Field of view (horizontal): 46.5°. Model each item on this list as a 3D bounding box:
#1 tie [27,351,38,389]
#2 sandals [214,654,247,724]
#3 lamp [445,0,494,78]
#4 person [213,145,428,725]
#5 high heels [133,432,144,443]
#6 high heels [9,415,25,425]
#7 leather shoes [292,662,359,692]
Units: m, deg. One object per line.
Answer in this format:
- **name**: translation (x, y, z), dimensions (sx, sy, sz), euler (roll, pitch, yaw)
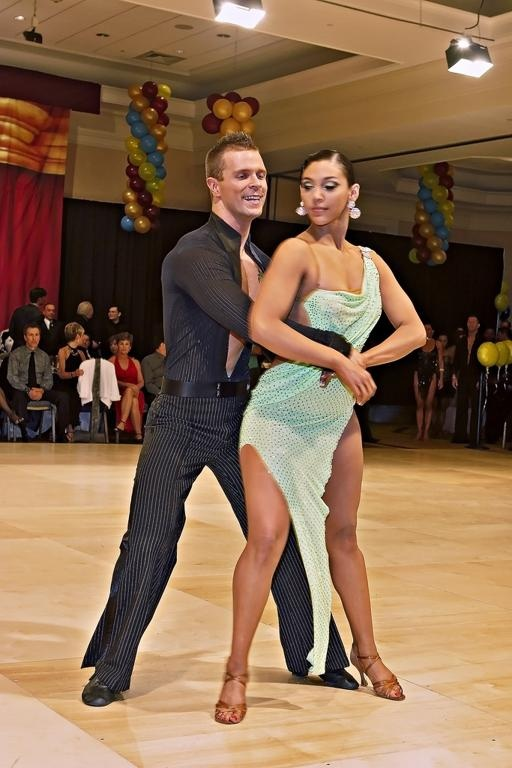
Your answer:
- **tie**: translation (-3.229, -0.200, 8.665), dimensions (0.164, 0.516, 0.074), euler (7, -12, -18)
- **sandals**: translation (-0.056, 0.712, 1.381), dimensions (0.072, 0.121, 0.091), euler (4, -11, -2)
- **lamp**: translation (2.741, -4.426, 7.712), dimensions (0.496, 1.275, 0.989), euler (-1, -12, 20)
- **person**: translation (0.171, 0.108, 1.549), dimensions (0.460, 1.415, 0.689), euler (-2, -12, 24)
- **high heels**: translation (-1.914, 0.879, 9.729), dimensions (0.165, 0.167, 0.458), euler (0, -3, -14)
- **high heels**: translation (-3.401, 0.521, 8.533), dimensions (0.083, 0.155, 0.230), euler (13, 10, -45)
- **leather shoes**: translation (0.201, 0.833, 1.720), dimensions (0.180, 0.050, 0.062), euler (0, 1, 20)
